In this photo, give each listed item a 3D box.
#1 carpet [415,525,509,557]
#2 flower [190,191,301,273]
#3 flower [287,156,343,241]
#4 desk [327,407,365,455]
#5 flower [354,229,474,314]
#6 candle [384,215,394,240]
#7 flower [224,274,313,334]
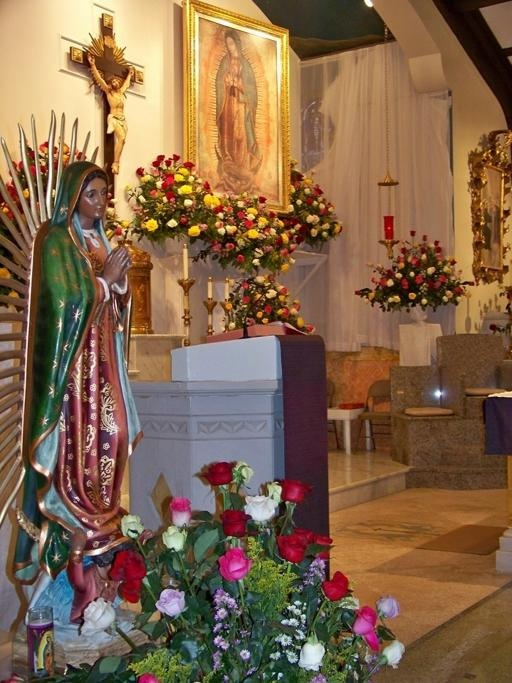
[{"bbox_3d":[1.299,1.180,4.306,0.404,0.014,0.816,-3,-4,33],"label":"carpet"},{"bbox_3d":[-0.080,-0.803,5.247,0.748,0.597,0.500,0,-3,-11],"label":"flower"},{"bbox_3d":[0.489,-1.271,6.644,0.322,0.711,0.551,-26,-2,4],"label":"flower"},{"bbox_3d":[0.905,0.876,7.135,0.325,0.450,0.848,-1,-3,8],"label":"desk"},{"bbox_3d":[1.563,-0.626,7.170,1.023,0.726,0.970,-1,3,-5],"label":"flower"},{"bbox_3d":[1.219,-1.034,6.629,0.078,0.217,0.115,-1,-3,-1],"label":"candle"},{"bbox_3d":[0.074,-0.267,4.743,0.518,0.433,0.768,0,-3,-2],"label":"flower"}]
